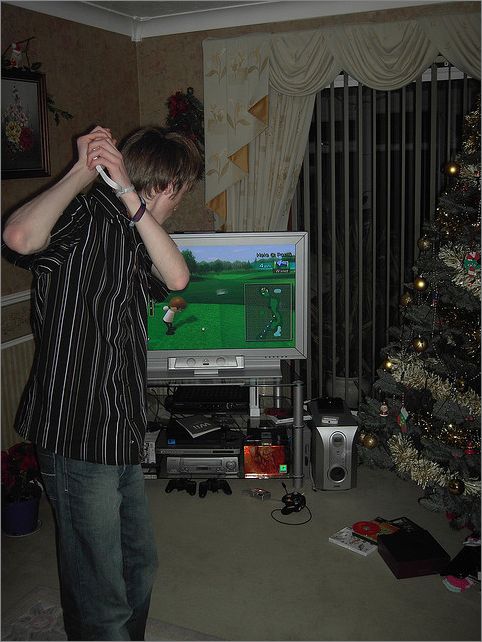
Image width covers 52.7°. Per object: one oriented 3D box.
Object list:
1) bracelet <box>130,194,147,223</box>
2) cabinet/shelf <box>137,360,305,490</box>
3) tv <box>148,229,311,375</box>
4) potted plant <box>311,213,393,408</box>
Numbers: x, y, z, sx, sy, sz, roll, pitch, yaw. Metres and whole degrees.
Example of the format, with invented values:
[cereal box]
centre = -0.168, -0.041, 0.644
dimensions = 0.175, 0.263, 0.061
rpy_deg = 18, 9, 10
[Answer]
[bracelet]
centre = -0.189, -0.210, 0.908
dimensions = 0.012, 0.041, 0.033
rpy_deg = 19, 40, 20
[cabinet/shelf]
centre = -0.114, 0.638, 3.242
dimensions = 1.225, 0.975, 0.750
rpy_deg = 1, 10, 1
[tv]
centre = -0.059, -0.104, 2.549
dimensions = 0.800, 0.587, 0.230
rpy_deg = 0, 5, 3
[potted plant]
centre = 0.838, -0.080, 3.732
dimensions = 0.635, 1.526, 0.493
rpy_deg = 1, 6, 18
